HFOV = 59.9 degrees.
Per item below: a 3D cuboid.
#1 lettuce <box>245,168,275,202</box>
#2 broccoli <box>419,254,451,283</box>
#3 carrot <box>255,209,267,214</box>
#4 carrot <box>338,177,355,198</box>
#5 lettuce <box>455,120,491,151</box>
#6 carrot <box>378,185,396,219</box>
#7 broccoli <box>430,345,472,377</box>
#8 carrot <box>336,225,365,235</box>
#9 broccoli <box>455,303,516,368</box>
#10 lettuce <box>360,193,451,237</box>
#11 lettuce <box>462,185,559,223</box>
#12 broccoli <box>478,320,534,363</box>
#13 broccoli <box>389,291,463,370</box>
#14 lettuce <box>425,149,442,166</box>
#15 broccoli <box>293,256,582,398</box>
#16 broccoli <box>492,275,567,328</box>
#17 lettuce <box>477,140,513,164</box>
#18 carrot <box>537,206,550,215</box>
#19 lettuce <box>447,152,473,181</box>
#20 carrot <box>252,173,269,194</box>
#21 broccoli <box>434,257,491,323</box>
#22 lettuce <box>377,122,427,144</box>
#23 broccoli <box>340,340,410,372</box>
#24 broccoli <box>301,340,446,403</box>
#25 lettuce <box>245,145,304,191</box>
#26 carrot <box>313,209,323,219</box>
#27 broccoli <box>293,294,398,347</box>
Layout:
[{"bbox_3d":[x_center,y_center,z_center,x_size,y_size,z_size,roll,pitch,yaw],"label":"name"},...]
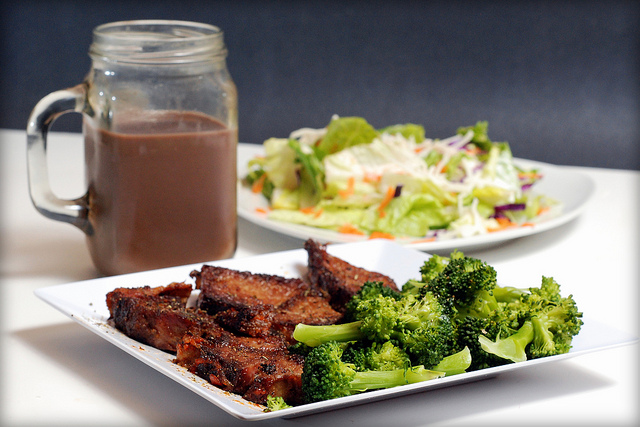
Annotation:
[{"bbox_3d":[-0.214,-0.106,2.082,0.119,0.119,0.032,32,15,30],"label":"lettuce"},{"bbox_3d":[0.299,0.129,1.419,0.067,0.029,0.068,-5,11,1],"label":"broccoli"},{"bbox_3d":[-0.202,-0.010,1.921,0.031,0.007,0.076,-6,10,-20],"label":"carrot"},{"bbox_3d":[0.093,-0.085,1.925,0.051,0.068,0.019,10,-23,38],"label":"carrot"},{"bbox_3d":[0.597,-0.306,2.165,0.127,0.116,0.114,0,10,15],"label":"lettuce"},{"bbox_3d":[0.231,-0.039,1.923,0.035,0.126,0.030,28,-33,-1],"label":"carrot"},{"bbox_3d":[0.261,0.292,1.107,0.098,0.030,0.053,-22,38,41],"label":"broccoli"},{"bbox_3d":[0.096,0.052,1.804,0.091,0.028,0.054,-1,10,10],"label":"carrot"},{"bbox_3d":[0.373,0.240,1.173,0.107,0.053,0.089,3,40,4],"label":"broccoli"},{"bbox_3d":[0.284,0.002,1.864,0.306,0.127,0.116,-2,10,2],"label":"lettuce"},{"bbox_3d":[0.634,-0.043,1.931,0.218,0.038,0.141,11,44,4],"label":"lettuce"},{"bbox_3d":[0.381,0.254,1.121,0.057,0.026,0.099,20,18,28],"label":"broccoli"},{"bbox_3d":[0.215,0.246,1.148,0.075,0.122,0.139,1,14,-36],"label":"broccoli"},{"bbox_3d":[0.425,-0.215,2.087,0.065,0.056,0.024,-5,11,-13],"label":"lettuce"},{"bbox_3d":[0.253,0.239,1.170,0.364,0.130,0.347,-12,6,-18],"label":"broccoli"},{"bbox_3d":[0.467,0.193,1.235,0.123,0.060,0.121,-9,1,17],"label":"broccoli"},{"bbox_3d":[0.646,-0.237,2.092,0.087,0.073,0.181,7,14,43],"label":"lettuce"},{"bbox_3d":[0.773,-0.016,1.927,0.029,0.007,0.030,-26,14,-34],"label":"carrot"},{"bbox_3d":[0.504,-0.169,2.025,0.078,0.100,0.033,10,-3,-6],"label":"lettuce"},{"bbox_3d":[-0.222,-0.121,2.110,0.026,0.073,0.052,18,-6,1],"label":"carrot"},{"bbox_3d":[0.317,0.172,1.231,0.080,0.096,0.075,-33,13,2],"label":"broccoli"},{"bbox_3d":[0.322,-0.317,2.194,0.192,0.078,0.239,-1,10,9],"label":"lettuce"},{"bbox_3d":[0.115,0.290,1.120,0.074,0.042,0.081,1,5,0],"label":"broccoli"},{"bbox_3d":[0.089,0.268,1.049,0.206,0.095,0.120,-2,11,-9],"label":"broccoli"},{"bbox_3d":[-0.164,-0.184,1.999,0.172,0.174,0.051,-40,-33,25],"label":"lettuce"},{"bbox_3d":[-0.010,-0.002,1.875,0.012,0.008,0.071,20,23,9],"label":"carrot"},{"bbox_3d":[0.050,0.243,1.204,0.226,0.101,0.123,-9,5,3],"label":"broccoli"}]
